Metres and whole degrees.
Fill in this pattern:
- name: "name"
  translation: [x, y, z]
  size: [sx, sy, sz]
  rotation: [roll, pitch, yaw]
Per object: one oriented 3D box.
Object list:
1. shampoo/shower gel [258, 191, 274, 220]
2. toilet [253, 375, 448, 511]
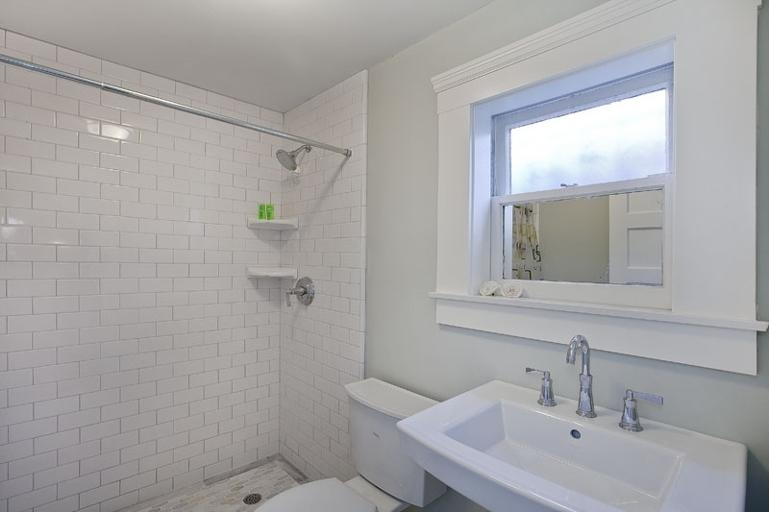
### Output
- name: "shampoo/shower gel"
  translation: [-0.839, -0.353, 3.575]
  size: [0.145, 0.197, 0.108]
  rotation: [-2, 3, -30]
- name: "toilet"
  translation: [-0.165, 1.015, 2.578]
  size: [0.742, 0.509, 0.670]
  rotation: [-10, 9, -32]
